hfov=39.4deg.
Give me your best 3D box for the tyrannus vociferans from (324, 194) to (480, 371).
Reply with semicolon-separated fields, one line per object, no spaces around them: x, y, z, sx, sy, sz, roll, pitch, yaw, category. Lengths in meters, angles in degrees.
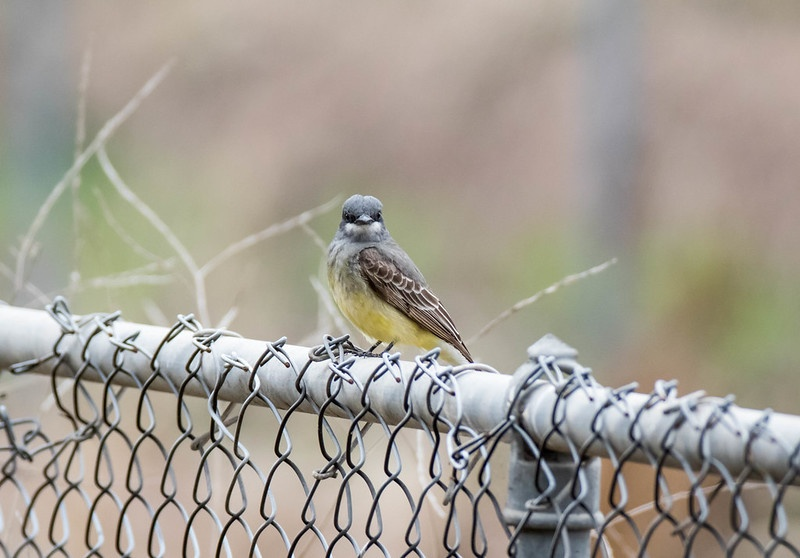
-0.045;-0.080;7.068;0.903;1.363;0.471;16;-38;-21;tyrannus vociferans
